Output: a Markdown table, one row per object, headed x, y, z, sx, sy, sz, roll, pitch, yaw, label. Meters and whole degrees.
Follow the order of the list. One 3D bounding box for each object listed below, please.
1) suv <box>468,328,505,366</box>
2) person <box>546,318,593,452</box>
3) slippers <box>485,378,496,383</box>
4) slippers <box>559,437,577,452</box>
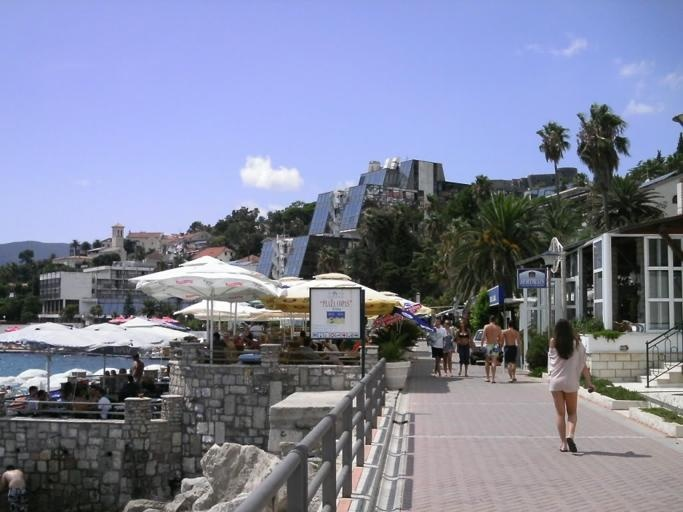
| x | y | z | sx | sy | sz | roll | pitch | yaw | label |
| --- | --- | --- | --- | --- | --- | --- | --- | --- | --- |
| 6.685 | 4.368 | 35.687 | 1.109 | 1.160 | 2.525 | -1 | -9 | 5 | suv |
| 4.183 | 2.402 | 13.893 | 0.632 | 2.517 | 0.499 | -5 | -1 | 21 | person |
| 4.922 | 4.125 | 24.951 | 0.349 | 0.259 | 0.127 | 2 | -6 | 19 | slippers |
| 4.257 | 3.545 | 14.100 | 0.154 | 0.407 | 0.154 | -11 | 6 | 32 | slippers |
